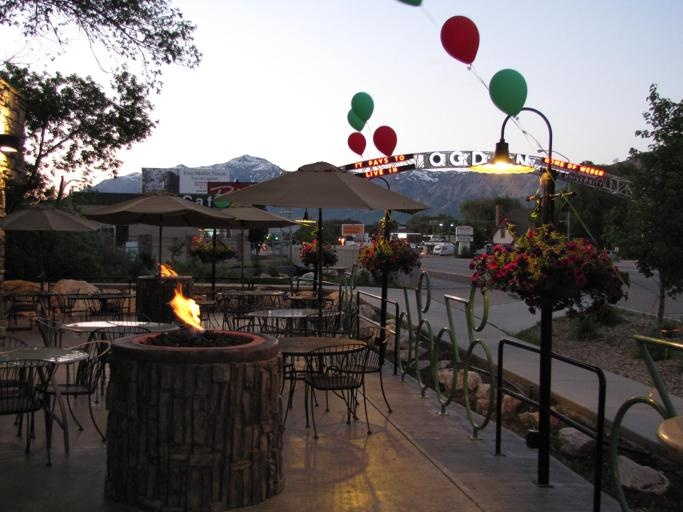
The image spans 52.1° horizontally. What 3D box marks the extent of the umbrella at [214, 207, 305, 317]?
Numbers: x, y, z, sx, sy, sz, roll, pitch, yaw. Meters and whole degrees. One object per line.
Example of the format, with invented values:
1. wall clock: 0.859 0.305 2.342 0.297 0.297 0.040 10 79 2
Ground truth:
1. umbrella: -2.097 -0.101 15.840 1.729 1.605 1.845 -1 2 0

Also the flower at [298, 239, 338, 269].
1. flower: -0.614 -0.021 16.575 0.691 0.649 0.735 3 8 12

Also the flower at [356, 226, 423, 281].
1. flower: 0.770 -0.027 12.004 0.785 0.594 0.772 2 5 44

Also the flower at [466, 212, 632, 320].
1. flower: 2.153 0.144 7.331 1.490 0.945 0.494 2 4 20

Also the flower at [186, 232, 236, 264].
1. flower: -3.656 -0.163 19.640 0.879 0.673 1.047 6 1 16

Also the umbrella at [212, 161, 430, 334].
1. umbrella: -0.483 -0.032 9.594 2.100 1.644 2.330 -1 0 34
